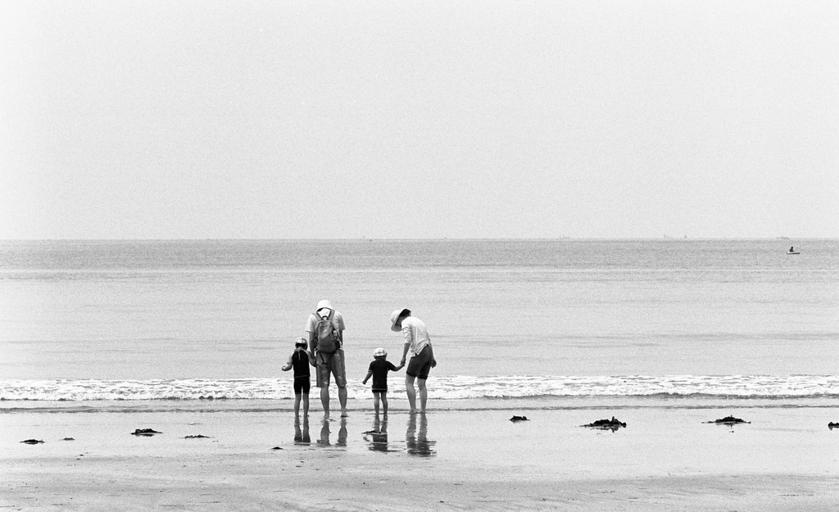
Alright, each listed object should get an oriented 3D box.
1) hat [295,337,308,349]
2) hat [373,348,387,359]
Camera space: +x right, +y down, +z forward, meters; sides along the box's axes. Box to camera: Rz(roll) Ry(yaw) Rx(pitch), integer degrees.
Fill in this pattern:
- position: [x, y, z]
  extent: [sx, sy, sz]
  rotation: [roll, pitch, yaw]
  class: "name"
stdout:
- position: [-4.806, 3.516, 71.437]
  extent: [0.414, 0.454, 0.485]
  rotation: [1, 5, 0]
  class: "hat"
- position: [-1.612, 3.992, 72.256]
  extent: [0.441, 0.274, 0.568]
  rotation: [0, 6, -2]
  class: "hat"
